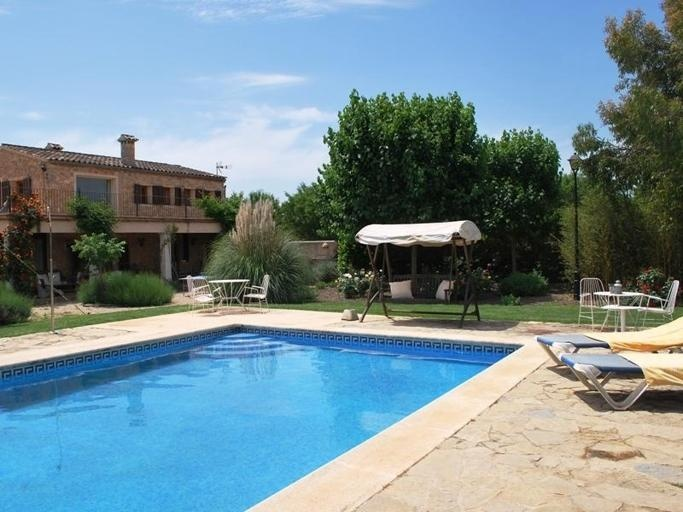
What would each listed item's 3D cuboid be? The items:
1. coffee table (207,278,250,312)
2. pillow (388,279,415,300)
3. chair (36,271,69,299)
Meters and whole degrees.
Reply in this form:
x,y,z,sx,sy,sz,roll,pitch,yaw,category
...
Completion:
x,y,z,sx,sy,sz,roll,pitch,yaw,category
-3.348,1.151,18.292,0.974,0.681,1.013,0,-1,13,coffee table
1.710,0.932,17.076,0.597,0.558,0.239,-4,-27,0,pillow
-10.502,1.057,21.975,1.176,1.089,0.903,3,2,15,chair
